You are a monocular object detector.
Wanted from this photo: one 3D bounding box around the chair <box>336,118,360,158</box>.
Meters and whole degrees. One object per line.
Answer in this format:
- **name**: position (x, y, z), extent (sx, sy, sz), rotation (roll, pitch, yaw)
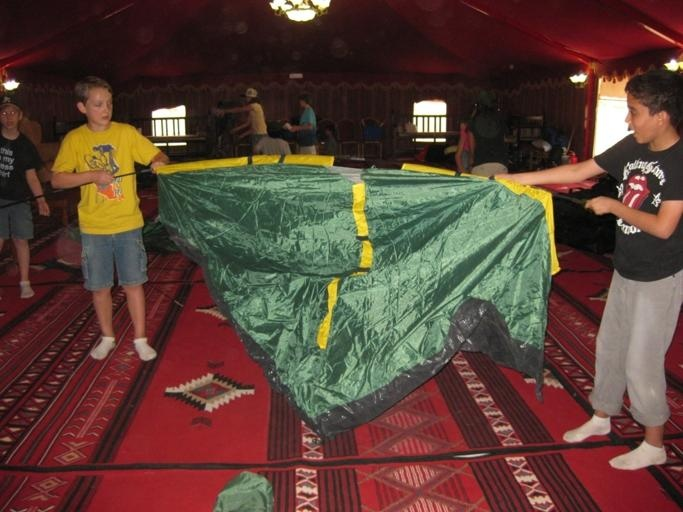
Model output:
- **chair**: position (0.234, -3.428, 15.790), extent (0.720, 1.038, 1.431), rotation (-1, 15, 2)
